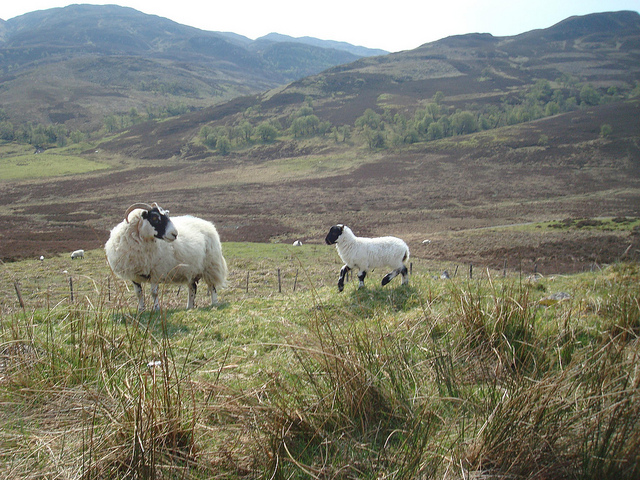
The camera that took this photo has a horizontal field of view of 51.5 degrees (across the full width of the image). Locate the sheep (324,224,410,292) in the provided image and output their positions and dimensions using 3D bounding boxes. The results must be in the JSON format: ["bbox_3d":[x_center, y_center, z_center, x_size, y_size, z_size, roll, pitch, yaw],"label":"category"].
[{"bbox_3d":[1.773,0.750,26.006,2.988,2.509,1.078,-1,6,3],"label":"sheep"}]

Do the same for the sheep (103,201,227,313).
[{"bbox_3d":[-4.619,0.760,21.313,3.010,3.421,5.005,-3,-3,35],"label":"sheep"}]

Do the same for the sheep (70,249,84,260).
[{"bbox_3d":[-14.331,0.798,39.361,0.909,0.672,0.398,1,3,2],"label":"sheep"}]
